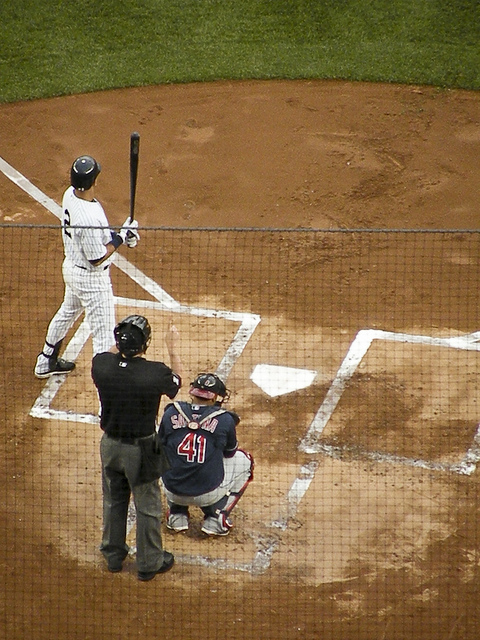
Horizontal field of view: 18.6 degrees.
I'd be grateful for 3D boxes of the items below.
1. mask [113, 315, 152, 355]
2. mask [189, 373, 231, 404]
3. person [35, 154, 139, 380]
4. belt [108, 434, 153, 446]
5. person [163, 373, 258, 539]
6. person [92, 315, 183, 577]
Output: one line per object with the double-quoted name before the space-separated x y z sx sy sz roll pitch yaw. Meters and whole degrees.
"mask" -0.951 0.124 12.669 0.299 0.300 0.223 0 19 -4
"mask" -0.268 0.630 13.166 0.384 0.327 0.186 -16 25 -39
"person" -1.508 -0.444 14.294 0.989 2.349 1.120 -5 20 -16
"belt" -0.965 1.020 12.597 0.388 0.069 0.070 2 19 3
"person" -0.458 1.144 13.450 0.910 1.505 0.851 14 14 31
"person" -0.934 1.146 12.758 0.736 2.246 0.503 2 20 4
